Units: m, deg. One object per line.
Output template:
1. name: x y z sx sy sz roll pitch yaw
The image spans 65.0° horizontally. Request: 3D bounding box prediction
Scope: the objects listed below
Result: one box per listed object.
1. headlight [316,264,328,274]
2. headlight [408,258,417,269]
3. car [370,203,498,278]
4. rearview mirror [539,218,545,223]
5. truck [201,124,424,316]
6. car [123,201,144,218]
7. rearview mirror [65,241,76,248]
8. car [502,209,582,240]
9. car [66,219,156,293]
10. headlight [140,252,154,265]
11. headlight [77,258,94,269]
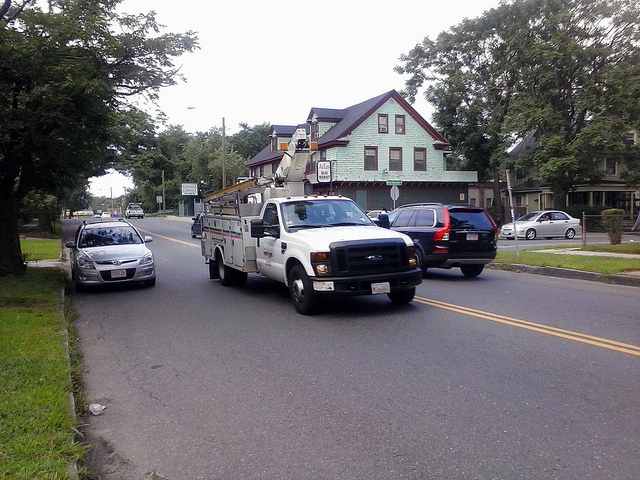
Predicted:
1. headlight: 0.051 0.506 9.071 0.168 0.171 0.052 -1 1 7
2. headlight: 1.779 0.441 9.653 0.054 0.174 0.180 -2 -4 32
3. car: 3.157 -0.190 15.021 1.912 1.518 3.872 -1 6 -22
4. rearview mirror: 13.950 -1.259 31.528 0.350 0.263 0.148 -3 6 -17
5. truck: -0.360 -0.410 11.965 2.972 3.504 6.327 -1 1 -30
6. car: -26.995 -4.225 73.119 2.473 1.771 3.875 -3 6 -16
7. rearview mirror: -6.693 0.110 13.516 0.217 0.120 0.304 1 -2 -21
8. car: 14.319 -0.972 31.959 3.895 1.711 1.476 -2 6 -10
9. car: -5.544 0.286 13.132 1.447 1.061 2.860 -3 -1 -21
10. headlight: -4.461 0.466 13.004 0.163 0.247 0.556 -1 6 4
11. headlight: -5.825 0.576 12.454 0.571 0.223 0.173 3 7 37
